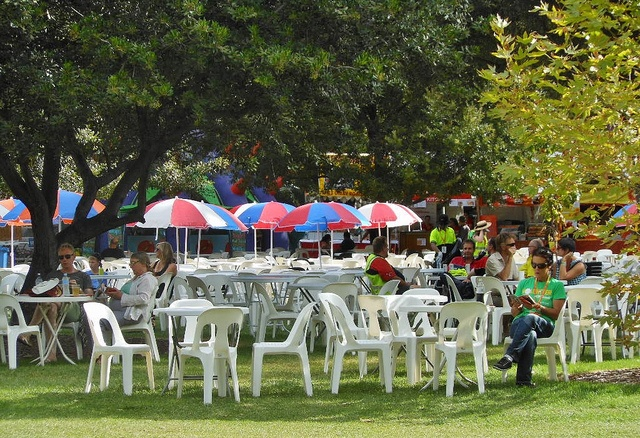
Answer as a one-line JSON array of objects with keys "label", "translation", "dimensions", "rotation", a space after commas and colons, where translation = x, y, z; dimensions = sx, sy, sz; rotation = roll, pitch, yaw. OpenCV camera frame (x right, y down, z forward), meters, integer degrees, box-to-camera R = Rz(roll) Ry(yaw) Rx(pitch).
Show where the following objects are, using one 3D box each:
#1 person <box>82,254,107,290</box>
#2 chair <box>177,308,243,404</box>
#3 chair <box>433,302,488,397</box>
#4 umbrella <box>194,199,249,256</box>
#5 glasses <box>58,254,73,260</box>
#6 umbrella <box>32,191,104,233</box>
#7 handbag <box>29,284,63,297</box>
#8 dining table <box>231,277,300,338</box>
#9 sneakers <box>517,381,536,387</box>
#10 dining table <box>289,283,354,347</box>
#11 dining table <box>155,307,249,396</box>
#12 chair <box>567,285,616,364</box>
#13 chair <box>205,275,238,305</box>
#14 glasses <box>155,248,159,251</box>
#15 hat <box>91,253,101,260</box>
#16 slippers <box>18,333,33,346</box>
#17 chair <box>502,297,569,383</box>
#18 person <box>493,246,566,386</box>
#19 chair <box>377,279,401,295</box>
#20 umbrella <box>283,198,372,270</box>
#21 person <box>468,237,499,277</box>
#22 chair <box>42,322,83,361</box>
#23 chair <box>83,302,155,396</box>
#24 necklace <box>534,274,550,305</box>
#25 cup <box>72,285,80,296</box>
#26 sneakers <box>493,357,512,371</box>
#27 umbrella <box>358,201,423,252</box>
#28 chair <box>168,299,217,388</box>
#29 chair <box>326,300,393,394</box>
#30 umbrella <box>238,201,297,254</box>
[{"label": "person", "translation": [-4.166, 1.008, 20.924], "dimensions": [0.516, 0.801, 0.476], "rotation": [-3, -4, 4]}, {"label": "chair", "translation": [-1.482, 1.873, 15.436], "dimensions": [0.841, 1.302, 0.654], "rotation": [0, -7, -11]}, {"label": "chair", "translation": [1.990, 1.758, 15.798], "dimensions": [0.737, 1.268, 0.777], "rotation": [-4, 4, -14]}, {"label": "umbrella", "translation": [-2.182, 0.235, 25.300], "dimensions": [1.179, 0.892, 1.208], "rotation": [5, 4, 32]}, {"label": "glasses", "translation": [-4.066, 0.616, 18.123], "dimensions": [0.232, 0.090, 0.116], "rotation": [-3, -8, 10]}, {"label": "umbrella", "translation": [-5.852, 0.037, 26.417], "dimensions": [1.361, 1.284, 1.416], "rotation": [6, 10, 12]}, {"label": "handbag", "translation": [-4.288, 1.129, 17.750], "dimensions": [0.501, 0.218, 0.512], "rotation": [1, -9, -16]}, {"label": "dining table", "translation": [-0.862, 1.578, 19.840], "dimensions": [1.089, 0.866, 1.128], "rotation": [1, -4, -14]}, {"label": "sneakers", "translation": [2.881, 2.306, 15.770], "dimensions": [0.263, 0.097, 0.216], "rotation": [-1, -8, -4]}, {"label": "dining table", "translation": [0.122, 1.352, 18.927], "dimensions": [1.094, 1.312, 0.945], "rotation": [2, -23, -5]}, {"label": "dining table", "translation": [-1.645, 1.654, 16.222], "dimensions": [1.238, 1.514, 1.366], "rotation": [1, -8, -7]}, {"label": "chair", "translation": [4.206, 1.659, 17.652], "dimensions": [0.640, 1.144, 0.720], "rotation": [0, -5, 12]}, {"label": "chair", "translation": [-1.753, 1.301, 21.059], "dimensions": [0.505, 0.849, 0.600], "rotation": [0, -8, -9]}, {"label": "glasses", "translation": [-3.158, 0.602, 22.038], "dimensions": [0.072, 0.099, 0.034], "rotation": [10, 10, 36]}, {"label": "hat", "translation": [-4.178, 0.700, 21.223], "dimensions": [0.138, 0.157, 0.112], "rotation": [-5, -1, -42]}, {"label": "slippers", "translation": [-4.896, 2.011, 18.833], "dimensions": [0.127, 0.151, 0.371], "rotation": [9, -9, 9]}, {"label": "chair", "translation": [3.115, 1.745, 16.100], "dimensions": [0.793, 1.129, 0.674], "rotation": [-4, -5, 6]}, {"label": "person", "translation": [2.956, 1.366, 15.879], "dimensions": [0.976, 1.917, 0.424], "rotation": [0, -7, -11]}, {"label": "chair", "translation": [1.154, 1.134, 18.792], "dimensions": [0.241, 0.351, 0.248], "rotation": [2, -2, 11]}, {"label": "umbrella", "translation": [0.149, -0.026, 24.359], "dimensions": [1.559, 1.265, 1.601], "rotation": [-8, 2, -15]}, {"label": "person", "translation": [3.381, 0.623, 23.526], "dimensions": [0.459, 1.208, 0.389], "rotation": [-20, 23, -38]}, {"label": "chair", "translation": [-4.208, 1.935, 18.192], "dimensions": [0.592, 0.640, 0.652], "rotation": [-3, -3, 27]}, {"label": "chair", "translation": [-2.828, 1.828, 15.971], "dimensions": [0.922, 1.244, 0.870], "rotation": [-2, -4, 30]}, {"label": "necklace", "translation": [3.127, 0.996, 15.962], "dimensions": [0.203, 0.391, 0.072], "rotation": [0, -20, 38]}, {"label": "cup", "translation": [-3.825, 1.132, 17.700], "dimensions": [0.134, 0.189, 0.152], "rotation": [0, 0, 11]}, {"label": "sneakers", "translation": [2.511, 1.993, 15.548], "dimensions": [0.120, 0.141, 0.339], "rotation": [23, 16, 31]}, {"label": "umbrella", "translation": [1.633, 0.206, 26.792], "dimensions": [1.106, 0.772, 1.133], "rotation": [0, 3, -39]}, {"label": "chair", "translation": [-1.718, 1.624, 16.436], "dimensions": [0.798, 1.238, 0.887], "rotation": [1, -5, -7]}, {"label": "chair", "translation": [0.576, 1.741, 16.124], "dimensions": [0.903, 1.262, 0.865], "rotation": [-1, 11, 12]}, {"label": "umbrella", "translation": [-1.321, 0.127, 27.301], "dimensions": [1.266, 1.393, 1.321], "rotation": [1, -5, -13]}]
